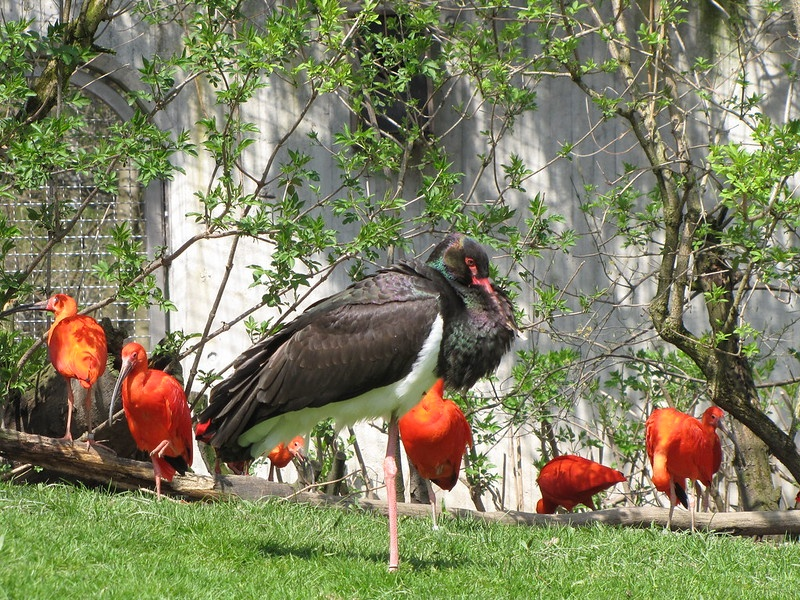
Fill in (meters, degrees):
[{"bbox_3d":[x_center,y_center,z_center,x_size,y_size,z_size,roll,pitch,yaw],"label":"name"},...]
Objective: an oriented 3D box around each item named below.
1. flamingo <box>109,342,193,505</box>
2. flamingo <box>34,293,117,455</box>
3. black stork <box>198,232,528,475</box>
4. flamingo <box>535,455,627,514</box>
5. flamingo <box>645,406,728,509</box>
[{"bbox_3d":[-2.110,1.064,10.566,0.547,1.413,0.891,-6,-3,25],"label":"flamingo"},{"bbox_3d":[-2.886,0.622,10.853,0.598,1.283,1.004,1,6,-18],"label":"flamingo"},{"bbox_3d":[-0.334,0.422,9.797,2.449,1.997,1.273,0,-1,-1],"label":"black stork"},{"bbox_3d":[1.772,1.714,11.700,0.713,0.616,0.719,-3,3,-42],"label":"flamingo"},{"bbox_3d":[2.539,1.316,11.009,0.640,0.996,0.708,5,5,18],"label":"flamingo"}]
